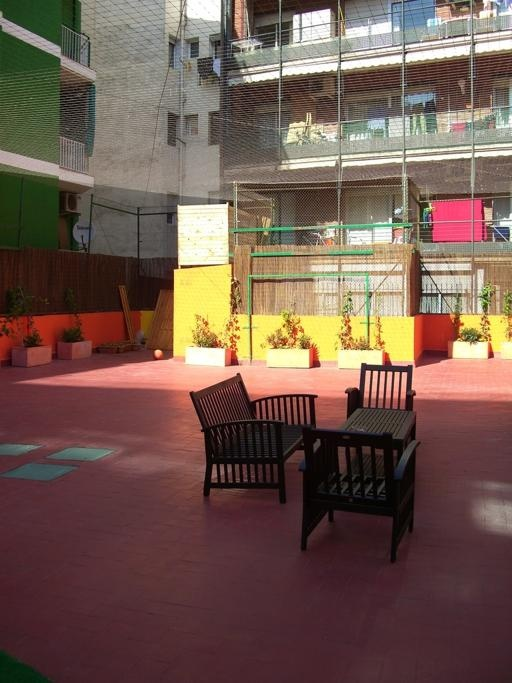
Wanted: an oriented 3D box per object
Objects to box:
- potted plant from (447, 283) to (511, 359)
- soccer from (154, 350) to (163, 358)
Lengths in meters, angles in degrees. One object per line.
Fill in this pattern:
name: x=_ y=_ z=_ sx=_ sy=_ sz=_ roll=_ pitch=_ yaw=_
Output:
potted plant: x=6.343 y=-0.626 z=15.712 sx=1.535 sy=2.217 sz=1.082 roll=0 pitch=2 yaw=20
soccer: x=-2.450 y=0.371 z=15.543 sx=0.184 sy=0.220 sz=0.256 roll=-22 pitch=-45 yaw=7
